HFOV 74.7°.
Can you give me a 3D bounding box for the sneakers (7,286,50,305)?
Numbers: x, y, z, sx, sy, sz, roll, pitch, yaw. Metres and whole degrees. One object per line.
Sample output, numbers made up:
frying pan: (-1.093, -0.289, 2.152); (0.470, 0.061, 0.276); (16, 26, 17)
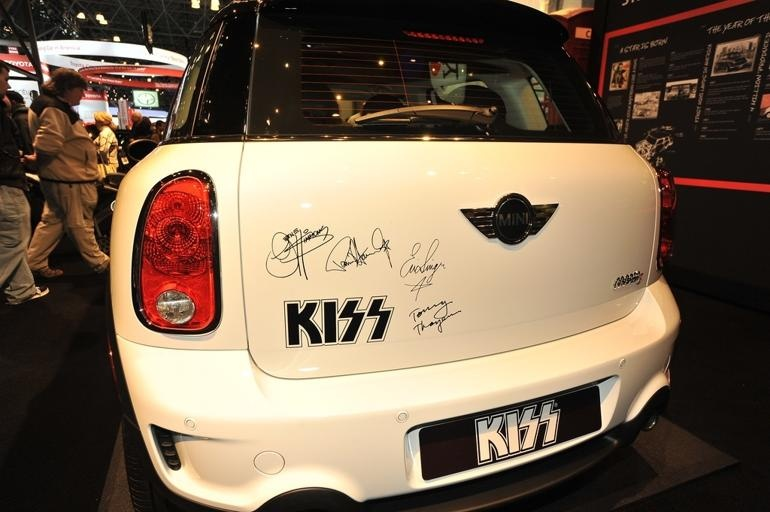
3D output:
sneakers: (-2.969, 0.332, 4.273); (0.096, 0.104, 0.268); (29, 38, 32)
